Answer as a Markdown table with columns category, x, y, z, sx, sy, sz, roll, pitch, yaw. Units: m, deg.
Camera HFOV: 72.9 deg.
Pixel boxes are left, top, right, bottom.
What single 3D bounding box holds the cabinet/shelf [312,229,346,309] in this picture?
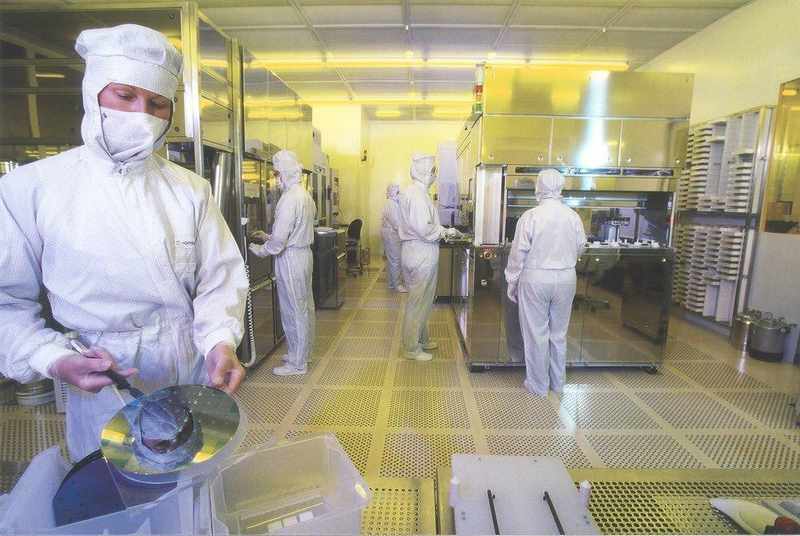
| category | x | y | z | sx | sy | sz | roll | pitch | yaw |
| --- | --- | --- | --- | --- | --- | --- | --- | --- | --- |
| cabinet/shelf | -0.882 | 0.035 | 6.599 | 0.543 | 0.890 | 0.973 | -1 | 6 | -4 |

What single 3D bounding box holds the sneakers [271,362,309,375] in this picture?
| category | x | y | z | sx | sy | sz | roll | pitch | yaw |
| --- | --- | --- | --- | --- | --- | --- | --- | --- | --- |
| sneakers | -0.958 | 0.868 | 4.664 | 0.276 | 0.101 | 0.113 | 2 | -1 | -1 |

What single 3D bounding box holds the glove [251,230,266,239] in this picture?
| category | x | y | z | sx | sy | sz | roll | pitch | yaw |
| --- | --- | --- | --- | --- | --- | --- | --- | --- | --- |
| glove | -1.271 | -0.296 | 4.808 | 0.092 | 0.077 | 0.333 | -2 | 1 | -3 |

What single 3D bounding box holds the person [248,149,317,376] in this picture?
| category | x | y | z | sx | sy | sz | roll | pitch | yaw |
| --- | --- | --- | --- | --- | --- | --- | --- | --- | --- |
| person | -0.999 | -0.054 | 4.704 | 0.534 | 1.846 | 0.769 | -3 | 15 | -10 |

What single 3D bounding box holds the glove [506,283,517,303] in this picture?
| category | x | y | z | sx | sy | sz | roll | pitch | yaw |
| --- | --- | --- | --- | --- | --- | --- | --- | --- | --- |
| glove | 0.935 | 0.207 | 4.482 | 0.095 | 0.139 | 0.146 | -3 | -7 | -5 |

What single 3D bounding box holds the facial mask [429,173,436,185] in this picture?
| category | x | y | z | sx | sy | sz | roll | pitch | yaw |
| --- | --- | --- | --- | --- | --- | --- | --- | --- | --- |
| facial mask | 0.323 | -0.866 | 5.301 | 0.082 | 0.107 | 0.098 | -6 | 20 | 1 |

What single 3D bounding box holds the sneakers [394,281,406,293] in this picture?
| category | x | y | z | sx | sy | sz | roll | pitch | yaw |
| --- | --- | --- | --- | --- | --- | --- | --- | --- | --- |
| sneakers | 0.012 | 0.304 | 7.837 | 0.247 | 0.143 | 0.085 | -1 | 10 | 24 |

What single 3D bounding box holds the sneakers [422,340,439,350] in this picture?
| category | x | y | z | sx | sy | sz | roll | pitch | yaw |
| --- | --- | --- | --- | --- | --- | --- | --- | --- | --- |
| sneakers | 0.301 | 0.748 | 5.232 | 0.152 | 0.056 | 0.067 | -3 | 11 | 10 |

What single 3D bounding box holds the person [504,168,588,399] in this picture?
| category | x | y | z | sx | sy | sz | roll | pitch | yaw |
| --- | --- | --- | --- | --- | --- | --- | --- | --- | --- |
| person | 1.129 | 0.114 | 4.312 | 0.594 | 1.737 | 0.522 | 4 | 16 | 17 |

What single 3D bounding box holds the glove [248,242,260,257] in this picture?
| category | x | y | z | sx | sy | sz | roll | pitch | yaw |
| --- | --- | --- | --- | --- | --- | --- | --- | --- | --- |
| glove | -1.230 | -0.155 | 4.635 | 0.119 | 0.053 | 0.096 | 44 | 35 | 19 |

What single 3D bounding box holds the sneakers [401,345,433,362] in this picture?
| category | x | y | z | sx | sy | sz | roll | pitch | yaw |
| --- | --- | --- | --- | --- | --- | --- | --- | --- | --- |
| sneakers | 0.170 | 0.789 | 4.988 | 0.256 | 0.097 | 0.120 | -2 | 6 | 0 |
